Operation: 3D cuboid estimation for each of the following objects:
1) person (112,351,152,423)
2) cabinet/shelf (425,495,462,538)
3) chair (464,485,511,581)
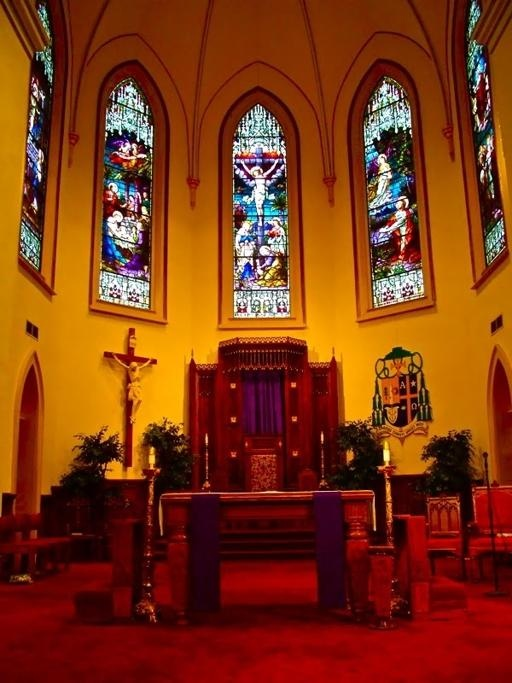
[{"bbox_3d":[-2.383,0.919,10.837,0.843,1.293,0.192,10,-18,-38],"label":"person"},{"bbox_3d":[2.169,1.996,6.582,0.456,0.703,0.434,-4,-16,19],"label":"cabinet/shelf"},{"bbox_3d":[2.473,2.000,5.897,0.497,0.927,1.241,-6,-15,20],"label":"chair"}]
